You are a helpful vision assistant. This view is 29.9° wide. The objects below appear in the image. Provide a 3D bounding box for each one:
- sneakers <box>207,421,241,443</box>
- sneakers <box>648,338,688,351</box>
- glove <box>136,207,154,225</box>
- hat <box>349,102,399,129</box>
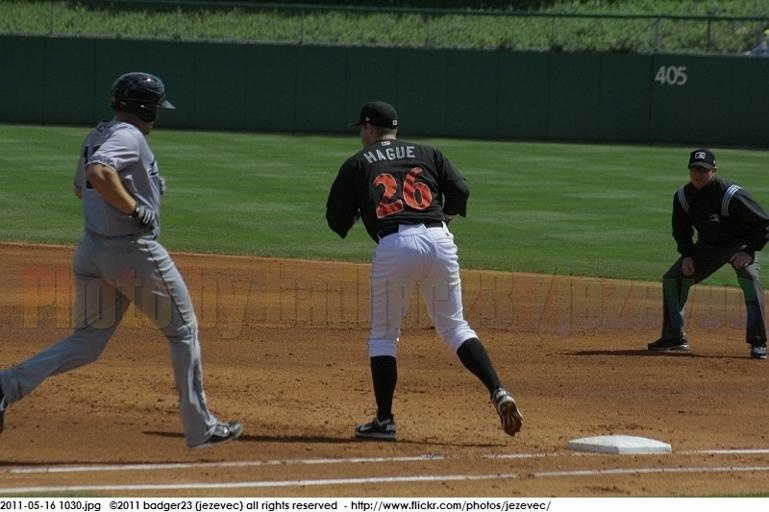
[{"bbox_3d":[-2.465,2.729,22.412,0.669,0.239,0.207,-14,57,-18],"label":"sneakers"},{"bbox_3d":[4.896,1.509,24.857,0.702,0.277,0.242,3,-1,0],"label":"sneakers"},{"bbox_3d":[-3.653,-0.620,21.994,0.294,0.300,0.086,0,10,-8],"label":"glove"},{"bbox_3d":[-0.131,-2.226,22.736,0.649,0.294,0.432,7,9,20],"label":"hat"}]
